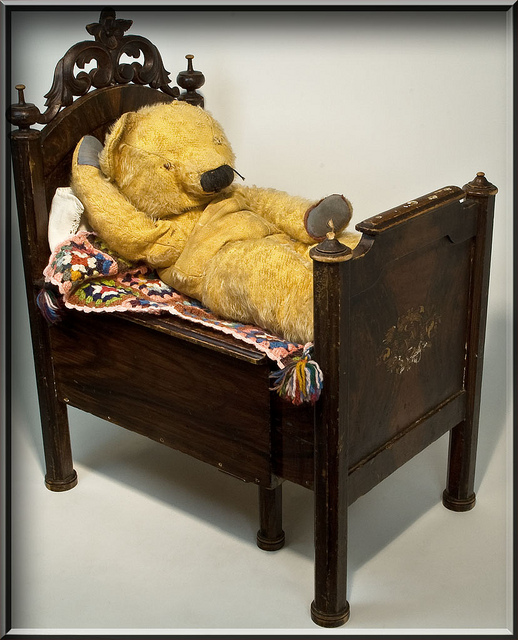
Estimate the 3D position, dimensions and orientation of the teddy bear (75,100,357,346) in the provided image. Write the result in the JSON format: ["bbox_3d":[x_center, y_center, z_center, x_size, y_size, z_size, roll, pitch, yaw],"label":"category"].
[{"bbox_3d":[-0.054,-0.318,1.866,0.999,0.497,0.568,20,38,28],"label":"teddy bear"}]

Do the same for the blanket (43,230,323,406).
[{"bbox_3d":[-0.232,0.000,1.716,0.713,0.157,0.396,27,32,14],"label":"blanket"}]

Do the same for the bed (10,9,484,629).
[{"bbox_3d":[-0.028,-0.154,1.863,1.155,1.408,0.833,15,27,38],"label":"bed"}]
